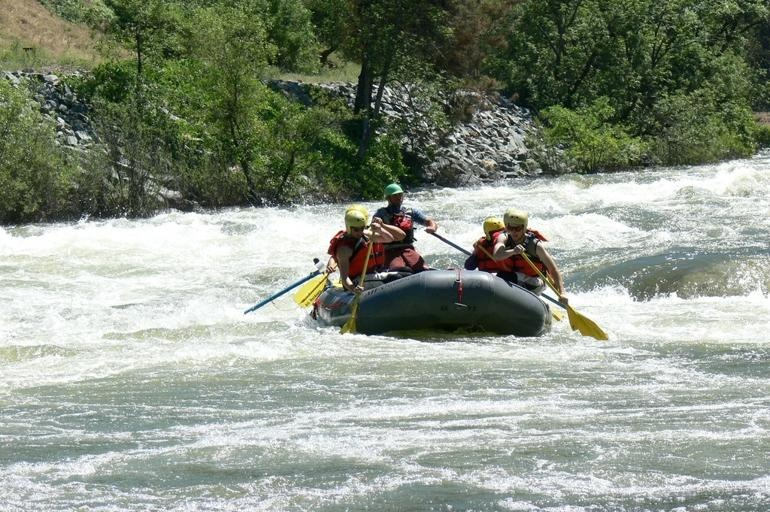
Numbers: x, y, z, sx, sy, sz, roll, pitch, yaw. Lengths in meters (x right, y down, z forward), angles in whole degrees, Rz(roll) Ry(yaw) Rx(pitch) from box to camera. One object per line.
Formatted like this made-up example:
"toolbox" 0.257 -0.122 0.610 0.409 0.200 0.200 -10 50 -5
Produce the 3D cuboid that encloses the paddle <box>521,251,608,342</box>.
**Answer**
"paddle" 4.253 1.050 30.700 2.672 0.470 0.072 43 23 18

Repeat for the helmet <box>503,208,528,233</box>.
"helmet" 3.041 -0.840 29.851 0.439 0.508 0.417 3 16 10

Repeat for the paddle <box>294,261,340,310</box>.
"paddle" -1.672 0.738 31.228 0.533 1.631 0.156 31 38 6
